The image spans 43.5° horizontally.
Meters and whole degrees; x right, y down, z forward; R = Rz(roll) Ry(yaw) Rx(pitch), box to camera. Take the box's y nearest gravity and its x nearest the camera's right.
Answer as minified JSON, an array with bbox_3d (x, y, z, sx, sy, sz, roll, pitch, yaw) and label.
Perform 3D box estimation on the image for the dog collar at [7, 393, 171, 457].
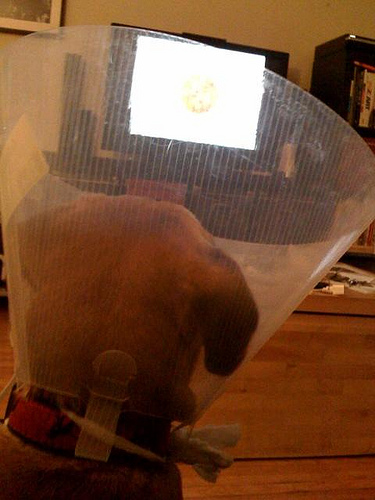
[{"bbox_3d":[-0.079,0.133,0.361,0.085,0.028,0.063,21,-9,-4],"label":"dog collar"}]

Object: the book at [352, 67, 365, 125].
[{"bbox_3d":[0.727,-0.663,2.011,0.061,0.245,0.015,7,4,-44],"label":"book"}]
